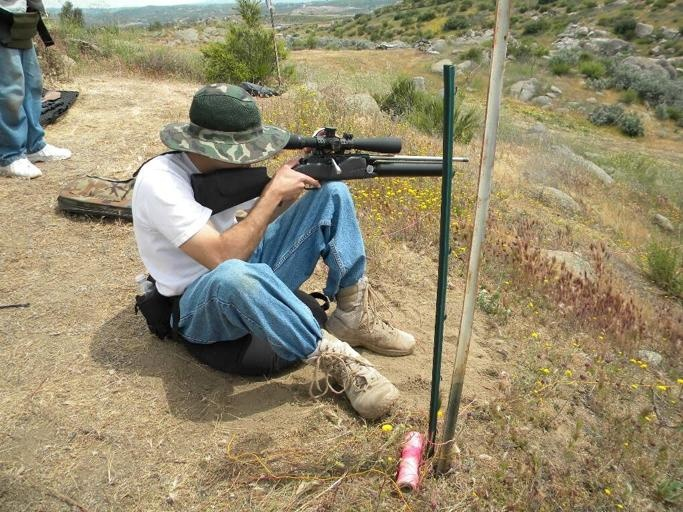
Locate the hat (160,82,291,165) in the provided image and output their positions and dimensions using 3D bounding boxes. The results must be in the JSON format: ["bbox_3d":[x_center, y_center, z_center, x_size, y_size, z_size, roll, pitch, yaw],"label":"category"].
[{"bbox_3d":[-0.826,-0.920,4.036,0.814,0.333,0.711,5,24,-11],"label":"hat"}]

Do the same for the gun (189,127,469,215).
[{"bbox_3d":[0.009,-0.703,4.511,2.351,0.695,0.404,-6,11,-20],"label":"gun"}]
